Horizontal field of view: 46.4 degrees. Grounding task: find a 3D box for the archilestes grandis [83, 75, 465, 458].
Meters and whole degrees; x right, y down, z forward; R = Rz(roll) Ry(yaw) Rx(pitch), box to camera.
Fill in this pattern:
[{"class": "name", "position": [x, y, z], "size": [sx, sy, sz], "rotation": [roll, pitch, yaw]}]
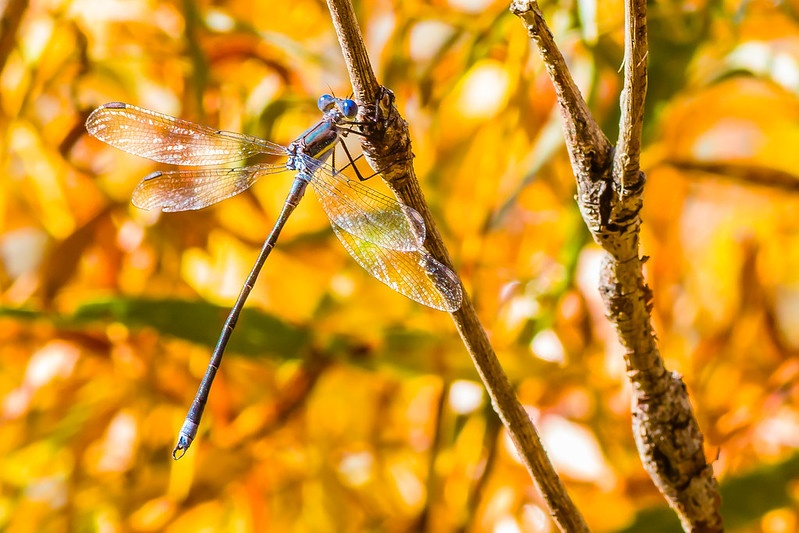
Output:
[{"class": "archilestes grandis", "position": [-0.203, 0.059, 1.343], "size": [0.485, 0.522, 0.233], "rotation": [29, 9, 30]}]
